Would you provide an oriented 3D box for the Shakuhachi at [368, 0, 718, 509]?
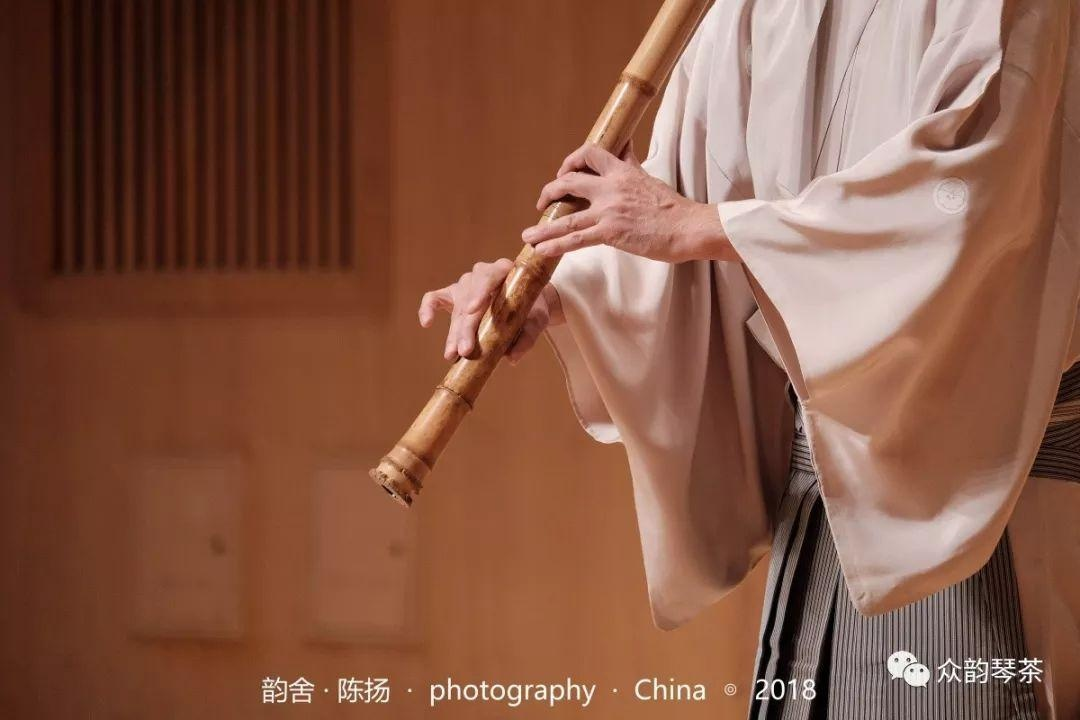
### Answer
[{"bbox_3d":[0.023,-0.281,3.115,0.184,1.475,0.199,27,0,-10],"label":"Shakuhachi"}]
